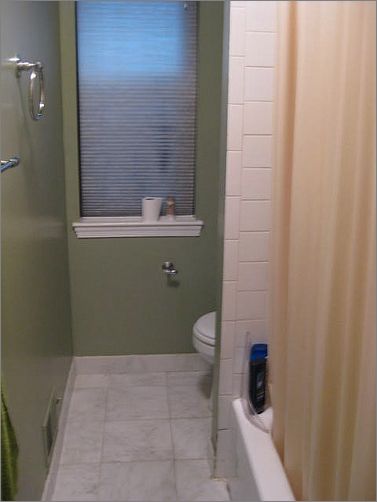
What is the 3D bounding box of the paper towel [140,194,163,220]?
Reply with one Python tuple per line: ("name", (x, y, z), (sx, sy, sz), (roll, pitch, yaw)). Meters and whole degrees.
("paper towel", (-0.204, -0.233, 2.459), (0.107, 0.151, 0.081), (-6, 15, -19))
